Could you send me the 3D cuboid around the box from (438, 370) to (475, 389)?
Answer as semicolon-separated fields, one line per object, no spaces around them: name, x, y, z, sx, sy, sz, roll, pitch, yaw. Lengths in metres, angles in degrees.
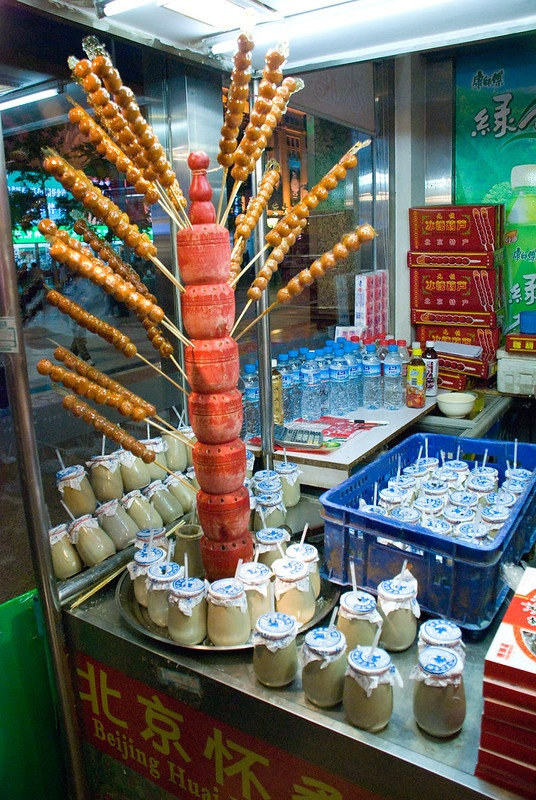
box;0.947;-0.088;2.826;0.112;0.037;0.111;9;-10;-33

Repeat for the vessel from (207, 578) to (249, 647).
vessel;-0.068;0.369;0.977;0.078;0.111;0.072;-6;10;-6

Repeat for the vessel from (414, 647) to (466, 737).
vessel;0.237;0.402;0.789;0.068;0.113;0.092;-2;11;15

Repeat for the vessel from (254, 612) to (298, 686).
vessel;0.003;0.388;0.881;0.062;0.061;0.091;14;34;13

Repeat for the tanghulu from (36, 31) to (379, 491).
tanghulu;-0.113;-0.185;1.073;0.591;0.908;0.431;-12;12;-33

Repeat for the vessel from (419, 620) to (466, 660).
vessel;0.256;0.346;0.834;0.058;0.058;0.061;-1;9;8

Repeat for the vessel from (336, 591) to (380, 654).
vessel;0.154;0.362;0.935;0.079;0.080;0.062;7;25;5

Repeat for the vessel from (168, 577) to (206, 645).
vessel;-0.139;0.379;1.010;0.076;0.108;0.082;2;11;-4

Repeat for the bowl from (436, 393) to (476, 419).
bowl;0.846;0.017;2.540;0.128;0.072;0.130;-2;4;0

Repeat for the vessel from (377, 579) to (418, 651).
vessel;0.221;0.369;0.960;0.080;0.096;0.078;-1;-1;34

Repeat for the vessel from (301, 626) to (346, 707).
vessel;0.089;0.399;0.846;0.063;0.107;0.073;2;13;35
